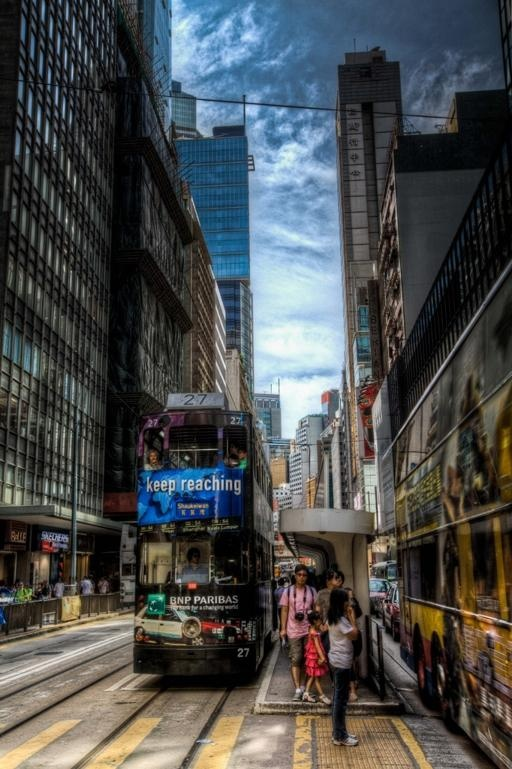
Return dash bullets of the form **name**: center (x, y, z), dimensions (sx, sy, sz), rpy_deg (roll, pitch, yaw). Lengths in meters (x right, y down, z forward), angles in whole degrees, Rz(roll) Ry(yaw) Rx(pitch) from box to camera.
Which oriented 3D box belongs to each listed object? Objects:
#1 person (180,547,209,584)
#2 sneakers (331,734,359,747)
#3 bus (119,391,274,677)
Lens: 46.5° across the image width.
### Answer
- **person**: center (-1.021, 3.185, 10.338), dimensions (0.491, 0.884, 0.446), rpy_deg (0, -31, -3)
- **sneakers**: center (0.843, 3.329, 5.586), dimensions (0.220, 0.142, 0.106), rpy_deg (-3, -6, 1)
- **bus**: center (-1.387, 2.757, 11.758), dimensions (1.591, 4.051, 5.734), rpy_deg (0, -3, 3)
